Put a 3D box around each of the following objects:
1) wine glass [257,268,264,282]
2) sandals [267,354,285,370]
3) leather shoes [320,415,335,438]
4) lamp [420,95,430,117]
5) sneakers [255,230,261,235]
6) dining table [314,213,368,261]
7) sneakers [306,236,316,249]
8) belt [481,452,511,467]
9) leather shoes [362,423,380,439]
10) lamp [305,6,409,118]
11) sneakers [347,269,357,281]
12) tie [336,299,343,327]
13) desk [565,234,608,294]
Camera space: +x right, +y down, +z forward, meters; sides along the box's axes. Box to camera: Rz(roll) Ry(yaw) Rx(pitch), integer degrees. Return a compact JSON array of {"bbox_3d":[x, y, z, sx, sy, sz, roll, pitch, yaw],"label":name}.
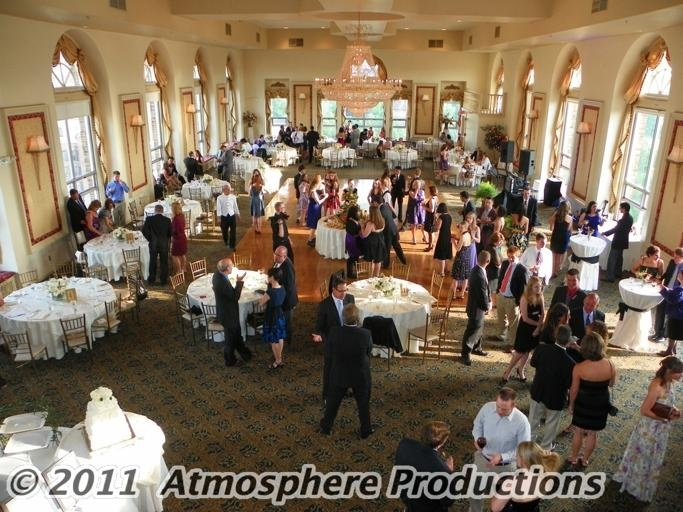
[{"bbox_3d":[-1.469,0.360,8.336,0.105,0.194,0.189,5,27,8],"label":"wine glass"},{"bbox_3d":[-1.018,1.702,7.198,0.227,0.099,0.126,0,20,-6],"label":"sandals"},{"bbox_3d":[-0.189,2.137,5.890,0.191,0.338,0.198,-2,18,-4],"label":"leather shoes"},{"bbox_3d":[4.294,-8.086,24.204,0.558,1.263,0.589,6,26,17],"label":"lamp"},{"bbox_3d":[-2.296,-0.646,12.629,0.128,0.177,0.396,-2,-1,-28],"label":"sneakers"},{"bbox_3d":[-0.232,-0.511,11.195,0.810,0.666,0.867,3,30,2],"label":"dining table"},{"bbox_3d":[-0.770,-0.336,11.792,0.240,0.227,0.481,-1,8,-3],"label":"sneakers"},{"bbox_3d":[1.478,1.960,4.454,0.153,0.086,0.213,5,0,-18],"label":"belt"},{"bbox_3d":[0.420,2.208,5.857,0.202,0.203,0.321,1,-13,13],"label":"leather shoes"},{"bbox_3d":[0.300,-4.536,10.820,1.564,2.301,1.902,-4,18,-11],"label":"lamp"},{"bbox_3d":[0.219,0.427,9.939,0.140,0.244,0.231,-7,14,-1],"label":"sneakers"},{"bbox_3d":[-0.016,0.750,6.194,0.063,0.275,0.202,-3,13,-8],"label":"tie"},{"bbox_3d":[4.845,0.145,9.080,0.698,1.126,0.780,-10,31,-3],"label":"desk"}]
